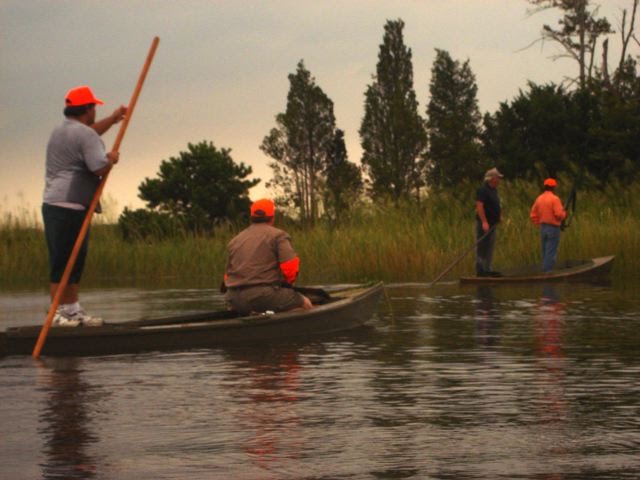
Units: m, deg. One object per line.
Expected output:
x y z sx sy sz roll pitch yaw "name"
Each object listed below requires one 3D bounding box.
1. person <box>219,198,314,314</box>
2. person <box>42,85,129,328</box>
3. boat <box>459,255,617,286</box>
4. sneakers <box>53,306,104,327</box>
-0.656 0.303 13.277 1.107 1.620 1.114 1 -2 21 "person"
-2.657 -0.368 12.005 0.847 2.731 1.554 -3 5 -15 "person"
3.882 0.541 20.048 2.942 0.404 2.054 -4 5 -24 "boat"
-2.704 0.864 12.217 0.578 0.244 0.215 -1 1 2 "sneakers"
